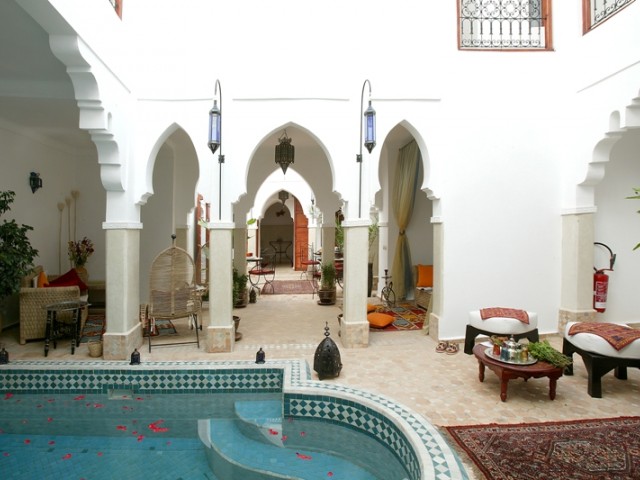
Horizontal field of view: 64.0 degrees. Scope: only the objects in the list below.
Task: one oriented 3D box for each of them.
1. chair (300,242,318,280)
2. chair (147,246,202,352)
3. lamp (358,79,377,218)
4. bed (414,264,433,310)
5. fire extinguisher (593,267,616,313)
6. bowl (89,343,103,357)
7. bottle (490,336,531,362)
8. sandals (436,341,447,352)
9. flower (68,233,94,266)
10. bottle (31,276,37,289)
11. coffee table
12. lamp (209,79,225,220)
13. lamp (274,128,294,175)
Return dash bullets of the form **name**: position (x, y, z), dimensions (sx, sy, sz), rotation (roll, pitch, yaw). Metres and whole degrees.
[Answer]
- **chair**: position (-0.526, 0.829, 21.241), dimensions (0.684, 1.398, 0.858), rotation (6, 3, -3)
- **chair**: position (-2.671, 1.041, 9.374), dimensions (1.029, 1.747, 1.066), rotation (-1, -5, -31)
- **lamp**: position (0.768, -1.629, 8.643), dimensions (0.320, 2.407, 0.975), rotation (-1, -1, 4)
- **bed**: position (2.487, 1.125, 12.270), dimensions (0.490, 0.753, 0.947), rotation (-2, -1, 12)
- **fire extinguisher**: position (5.240, 0.932, 9.491), dimensions (0.253, 0.800, 0.493), rotation (-1, -2, 35)
- **bowl**: position (-3.703, 1.769, 8.444), dimensions (0.214, 0.226, 0.218), rotation (2, 6, 0)
- **bottle**: position (2.701, 1.549, 7.335), dimensions (0.359, 0.144, 0.364), rotation (1, 1, 0)
- **sandals**: position (2.115, 1.841, 8.861), dimensions (0.187, 0.137, 0.256), rotation (-1, -2, 17)
- **flower**: position (-5.273, 0.228, 11.354), dimensions (0.546, 0.734, 0.601), rotation (1, -7, -5)
- **bottle**: position (-5.284, 0.775, 9.417), dimensions (0.072, 0.186, 0.181), rotation (0, -1, -16)
- **coffee table**: position (2.812, 1.780, 7.095), dimensions (0.694, 0.344, 0.876), rotation (-2, 6, -11)
- **lamp**: position (-1.726, -1.558, 8.524), dimensions (0.249, 2.407, 0.706), rotation (0, -1, -10)
- **lamp**: position (-0.764, -1.900, 10.780), dimensions (0.338, 0.820, 0.738), rotation (0, -2, -9)
